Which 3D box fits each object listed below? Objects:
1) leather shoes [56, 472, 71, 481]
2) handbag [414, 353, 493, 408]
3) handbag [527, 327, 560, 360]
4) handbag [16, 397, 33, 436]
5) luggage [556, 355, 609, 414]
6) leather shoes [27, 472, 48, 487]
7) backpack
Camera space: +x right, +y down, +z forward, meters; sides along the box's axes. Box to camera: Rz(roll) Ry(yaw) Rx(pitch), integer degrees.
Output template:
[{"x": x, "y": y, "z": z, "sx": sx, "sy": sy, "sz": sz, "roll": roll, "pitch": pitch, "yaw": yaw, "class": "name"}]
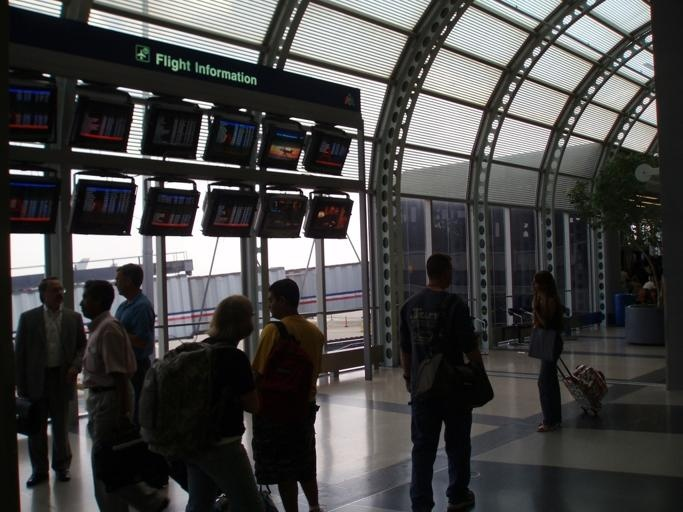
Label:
[{"x": -2.985, "y": 2.374, "z": 5.581, "sx": 0.124, "sy": 0.103, "sz": 0.104, "roll": -3, "pitch": 3, "yaw": -24, "class": "leather shoes"}, {"x": 0.960, "y": 1.080, "z": 4.405, "sx": 0.632, "sy": 0.425, "sz": 0.276, "roll": 8, "pitch": -4, "yaw": -21, "class": "handbag"}, {"x": 2.657, "y": 1.159, "z": 6.800, "sx": 0.398, "sy": 0.414, "sz": 0.274, "roll": -3, "pitch": -3, "yaw": 16, "class": "handbag"}, {"x": -2.580, "y": 1.332, "z": 4.266, "sx": 0.112, "sy": 0.305, "sz": 0.304, "roll": 5, "pitch": -17, "yaw": -44, "class": "handbag"}, {"x": 3.555, "y": 1.978, "z": 7.596, "sx": 0.501, "sy": 0.676, "sz": 0.586, "roll": -4, "pitch": -4, "yaw": 35, "class": "luggage"}, {"x": -3.232, "y": 2.379, "z": 5.500, "sx": 0.081, "sy": 0.100, "sz": 0.248, "roll": 3, "pitch": -17, "yaw": 10, "class": "leather shoes"}, {"x": -0.994, "y": 0.860, "z": 3.211, "sx": 0.411, "sy": 0.712, "sz": 0.473, "roll": 2, "pitch": 4, "yaw": -25, "class": "backpack"}]
